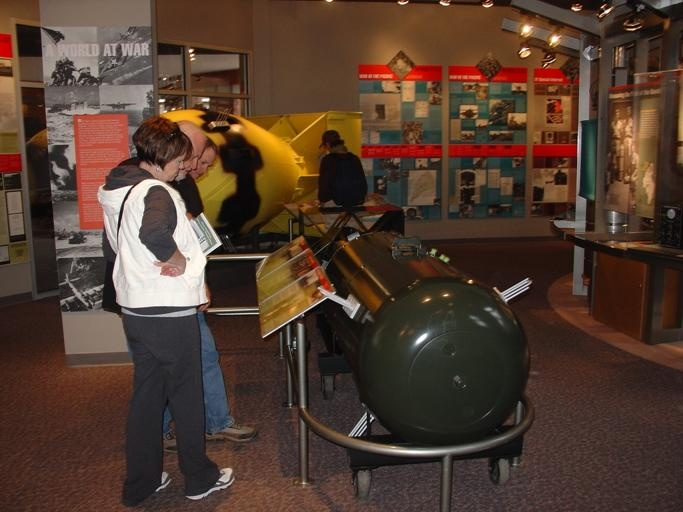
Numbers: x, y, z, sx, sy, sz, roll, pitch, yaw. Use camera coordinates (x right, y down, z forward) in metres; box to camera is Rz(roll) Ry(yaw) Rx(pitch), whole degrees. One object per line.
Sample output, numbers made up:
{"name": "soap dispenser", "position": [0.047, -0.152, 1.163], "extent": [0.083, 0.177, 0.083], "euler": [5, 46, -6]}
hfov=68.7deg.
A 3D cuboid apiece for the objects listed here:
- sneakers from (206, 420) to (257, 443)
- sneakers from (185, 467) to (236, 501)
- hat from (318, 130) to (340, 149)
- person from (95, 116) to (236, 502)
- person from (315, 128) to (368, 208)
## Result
{"name": "sneakers", "position": [-0.645, 1.002, 2.918], "extent": [0.272, 0.118, 0.109], "euler": [-3, 10, -7]}
{"name": "sneakers", "position": [-0.639, 1.113, 2.520], "extent": [0.270, 0.102, 0.088], "euler": [-4, 8, -43]}
{"name": "hat", "position": [-0.136, -1.324, 5.700], "extent": [0.230, 0.153, 0.291], "euler": [-6, 24, -11]}
{"name": "person", "position": [-0.821, 0.297, 2.272], "extent": [0.516, 1.779, 0.407], "euler": [-3, 14, -9]}
{"name": "person", "position": [0.003, -0.959, 5.593], "extent": [0.551, 0.808, 0.422], "euler": [-2, 14, -2]}
